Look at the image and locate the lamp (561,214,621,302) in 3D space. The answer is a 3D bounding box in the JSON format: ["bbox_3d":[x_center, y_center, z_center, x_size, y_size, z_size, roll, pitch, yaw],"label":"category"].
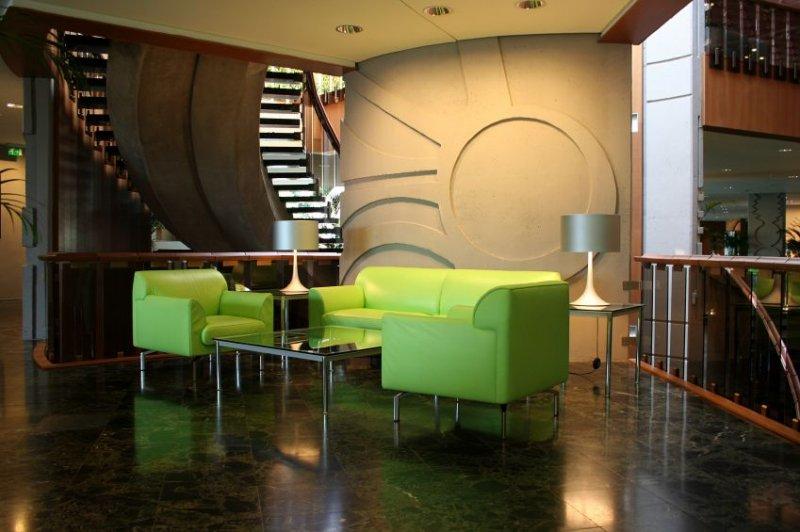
[{"bbox_3d":[1.949,-0.042,6.446,0.619,0.920,0.615,0,-3,26],"label":"lamp"}]

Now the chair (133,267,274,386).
[{"bbox_3d":[-2.157,0.594,6.902,1.284,1.017,1.197,-1,5,-43],"label":"chair"}]

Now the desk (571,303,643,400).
[{"bbox_3d":[2.154,0.652,6.295,0.842,1.045,1.139,0,2,31],"label":"desk"}]

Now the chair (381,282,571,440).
[{"bbox_3d":[0.626,0.642,5.439,1.317,1.257,1.317,2,2,39],"label":"chair"}]

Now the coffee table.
[{"bbox_3d":[-0.824,0.941,5.935,1.510,0.664,1.013,6,11,33],"label":"coffee table"}]
